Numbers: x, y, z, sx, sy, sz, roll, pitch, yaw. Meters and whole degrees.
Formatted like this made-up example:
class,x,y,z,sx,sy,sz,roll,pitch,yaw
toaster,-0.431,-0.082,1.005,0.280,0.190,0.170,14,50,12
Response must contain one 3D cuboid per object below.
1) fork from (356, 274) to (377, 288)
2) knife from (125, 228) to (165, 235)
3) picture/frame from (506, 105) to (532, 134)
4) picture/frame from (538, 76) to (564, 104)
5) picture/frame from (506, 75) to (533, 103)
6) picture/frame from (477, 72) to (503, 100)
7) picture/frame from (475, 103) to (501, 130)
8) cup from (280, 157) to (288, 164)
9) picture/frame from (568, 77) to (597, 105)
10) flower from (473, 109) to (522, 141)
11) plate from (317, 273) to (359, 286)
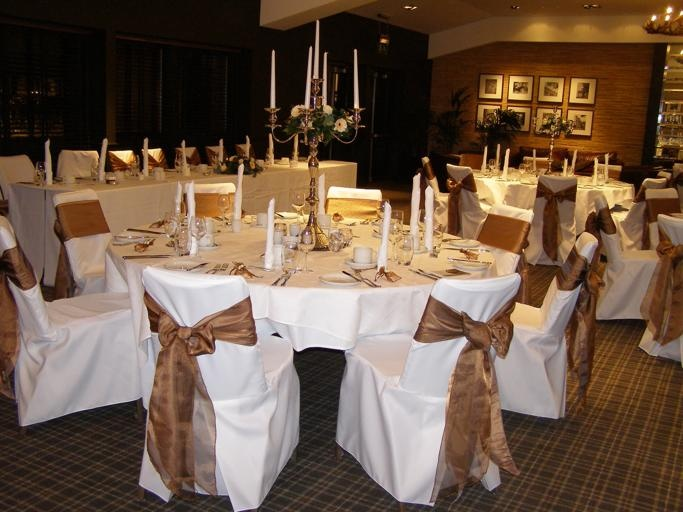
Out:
class,x,y,z,sx,sy,sz,roll,pitch,yaw
fork,0.135,0.129,2.660,0.039,0.013,0.155,-6,15,-22
knife,-1.343,-0.166,3.506,0.332,0.019,0.043,3,15,-23
picture/frame,4.500,-3.466,12.957,0.684,0.804,0.028,1,-4,3
picture/frame,5.236,-4.189,12.743,0.612,0.709,0.046,4,11,26
picture/frame,4.566,-4.321,13.044,0.623,0.725,0.029,6,15,19
picture/frame,3.897,-4.493,13.359,0.646,0.741,0.045,10,22,30
picture/frame,3.817,-3.664,13.279,0.746,0.857,0.052,6,10,31
cup,-0.919,-1.522,8.186,0.131,0.072,0.133,1,7,0
picture/frame,5.870,-4.055,12.425,0.579,0.654,0.041,9,11,24
flower,4.046,-3.336,13.129,0.878,0.938,0.930,0,8,-2
plate,-0.004,0.120,2.674,0.206,0.030,0.234,4,15,13
